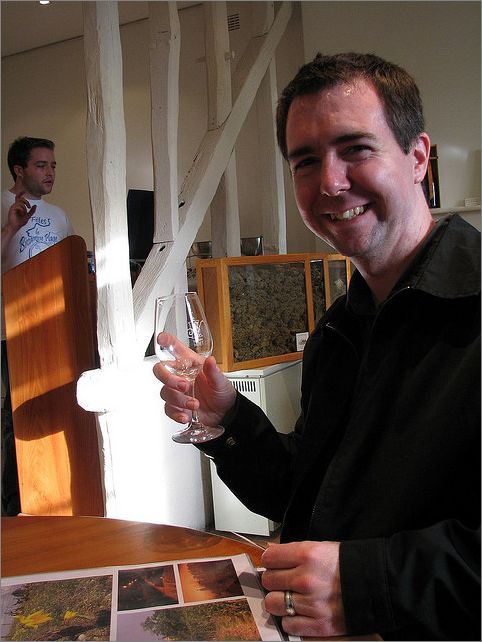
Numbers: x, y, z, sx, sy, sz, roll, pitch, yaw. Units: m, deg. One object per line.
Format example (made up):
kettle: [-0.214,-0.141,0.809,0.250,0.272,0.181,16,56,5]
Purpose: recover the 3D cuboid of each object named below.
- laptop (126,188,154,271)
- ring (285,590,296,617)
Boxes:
laptop: [-0.536,-0.511,2.850,0.152,0.421,0.306,-6,4,-11]
ring: [0.052,0.298,0.560,0.009,0.028,0.023,-4,13,0]
